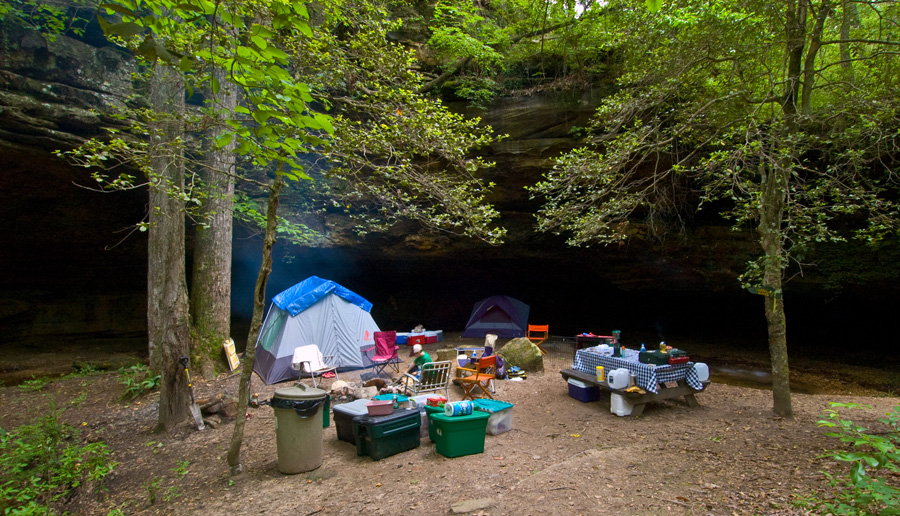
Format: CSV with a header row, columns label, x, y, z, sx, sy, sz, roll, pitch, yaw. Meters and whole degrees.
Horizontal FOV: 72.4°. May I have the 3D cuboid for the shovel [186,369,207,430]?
label,x,y,z,sx,sy,sz,roll,pitch,yaw
shovel,-7.023,3.851,17.056,0.605,1.689,0.421,-3,-7,9

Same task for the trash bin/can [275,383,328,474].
label,x,y,z,sx,sy,sz,roll,pitch,yaw
trash bin/can,-3.742,4.243,15.214,1.259,2.123,0.532,-1,-7,-11

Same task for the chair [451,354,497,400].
label,x,y,z,sx,sy,sz,roll,pitch,yaw
chair,0.781,3.529,18.356,1.237,1.183,1.298,1,-8,-23

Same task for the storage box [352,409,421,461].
label,x,y,z,sx,sy,sz,roll,pitch,yaw
storage box,-1.666,4.483,15.819,1.581,0.826,1.075,4,-6,-42

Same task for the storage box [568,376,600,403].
label,x,y,z,sx,sy,sz,roll,pitch,yaw
storage box,3.954,3.892,18.274,0.732,0.633,1.064,-3,2,-28

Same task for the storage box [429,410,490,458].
label,x,y,z,sx,sy,sz,roll,pitch,yaw
storage box,0.274,4.487,16.163,1.581,1.011,1.599,0,-2,40

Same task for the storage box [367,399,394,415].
label,x,y,z,sx,sy,sz,roll,pitch,yaw
storage box,-1.783,3.804,15.672,0.550,0.172,0.370,0,-3,-1

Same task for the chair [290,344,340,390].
label,x,y,z,sx,sy,sz,roll,pitch,yaw
chair,-4.334,3.430,19.678,1.341,1.340,1.594,0,-1,39
